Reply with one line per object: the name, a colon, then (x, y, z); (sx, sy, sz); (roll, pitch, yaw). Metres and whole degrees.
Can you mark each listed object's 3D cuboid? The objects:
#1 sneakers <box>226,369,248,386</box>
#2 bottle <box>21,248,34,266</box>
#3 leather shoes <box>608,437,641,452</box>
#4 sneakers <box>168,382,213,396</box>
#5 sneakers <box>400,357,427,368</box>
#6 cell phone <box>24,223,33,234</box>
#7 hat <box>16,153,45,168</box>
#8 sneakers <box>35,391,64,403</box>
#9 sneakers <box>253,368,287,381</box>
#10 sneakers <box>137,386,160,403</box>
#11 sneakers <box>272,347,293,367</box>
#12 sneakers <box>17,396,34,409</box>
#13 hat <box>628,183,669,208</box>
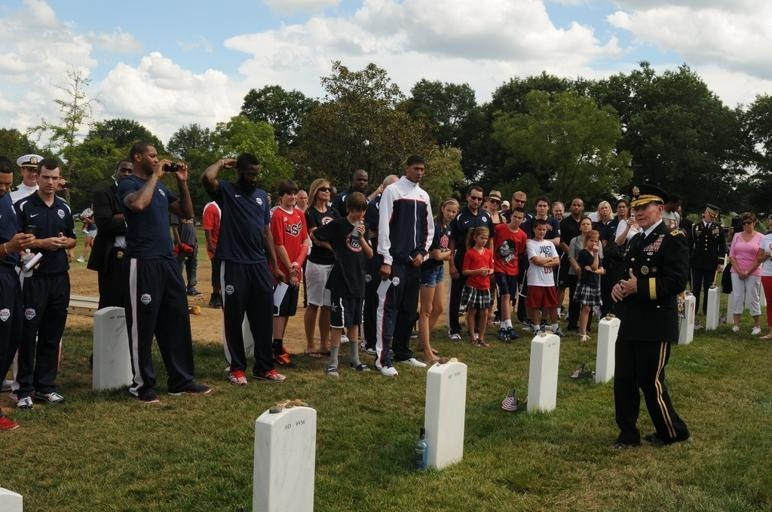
sneakers: (-2.187, 1.783, 10.551); (0.333, 0.138, 0.147); (-2, 0, 45)
bottle: (-4.700, 0.018, 9.466); (0.204, 0.277, 0.197); (-1, 0, 0)
leather shoes: (3.081, 2.414, 9.185); (0.446, 0.169, 0.146); (-2, -3, -8)
sneakers: (-2.749, 1.870, 10.072); (0.553, 0.157, 0.212); (-2, 1, -13)
sneakers: (0.476, 1.753, 11.790); (0.423, 0.145, 0.157); (-2, -4, 22)
cell phone: (-4.629, -0.354, 9.248); (0.159, 0.141, 0.151); (4, -8, -32)
hat: (-4.996, -1.330, 9.990); (0.355, 0.149, 0.387); (-3, 3, -32)
sneakers: (-4.511, 1.895, 9.650); (0.416, 0.156, 0.162); (2, 5, 5)
sneakers: (-1.732, 1.778, 10.744); (0.446, 0.180, 0.187); (0, -2, 5)
sneakers: (-3.225, 1.892, 9.784); (0.353, 0.144, 0.154); (3, 3, 35)
sneakers: (-1.598, 1.625, 11.446); (0.429, 0.162, 0.149); (5, 4, 41)
sneakers: (-4.751, 1.937, 9.418); (0.257, 0.113, 0.113); (-5, -6, 35)
hat: (3.470, -0.789, 9.292); (0.372, 0.182, 0.320); (-2, 1, -40)
